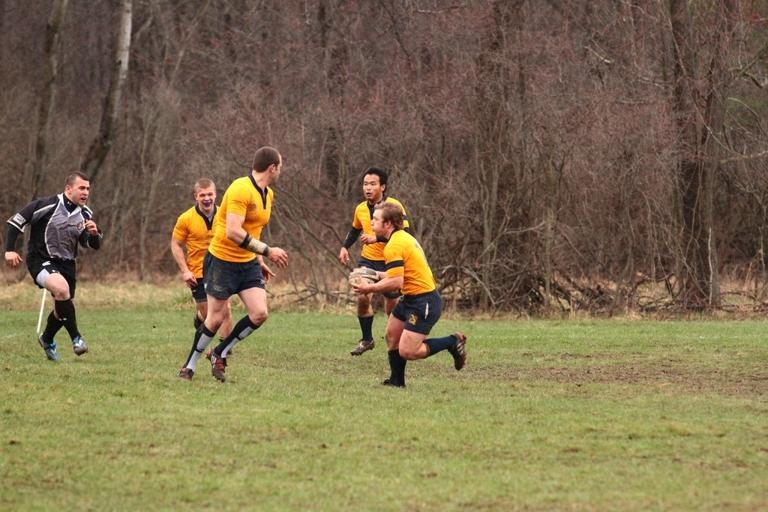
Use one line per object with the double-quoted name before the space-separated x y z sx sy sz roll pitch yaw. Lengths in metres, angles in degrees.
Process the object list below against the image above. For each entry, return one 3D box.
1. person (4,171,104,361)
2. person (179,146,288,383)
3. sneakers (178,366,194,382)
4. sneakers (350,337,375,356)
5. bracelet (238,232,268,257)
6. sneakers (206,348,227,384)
"person" -5.786 0.175 20.843 1.519 3.316 0.718 2 -1 -15
"person" -2.485 0.139 19.854 1.491 3.942 1.084 2 -1 -15
"sneakers" -3.331 1.993 19.850 0.233 0.301 0.197 2 -1 45
"sneakers" -0.408 1.717 22.082 0.550 0.270 0.194 -12 5 -17
"bracelet" -2.166 -0.141 19.571 0.475 0.194 0.279 25 32 -21
"sneakers" -2.818 1.873 20.033 0.292 0.618 0.215 -20 -19 6
